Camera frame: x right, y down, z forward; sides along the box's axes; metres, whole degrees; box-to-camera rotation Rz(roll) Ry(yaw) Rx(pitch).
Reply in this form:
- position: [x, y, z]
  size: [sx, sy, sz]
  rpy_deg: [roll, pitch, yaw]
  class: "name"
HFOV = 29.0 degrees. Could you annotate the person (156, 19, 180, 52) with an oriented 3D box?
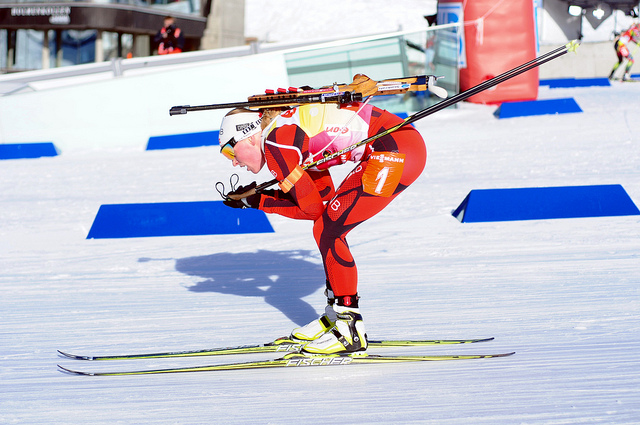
- position: [-2.896, -3.387, 23.645]
  size: [0.499, 0.328, 0.747]
  rpy_deg: [9, -28, -3]
  class: "person"
